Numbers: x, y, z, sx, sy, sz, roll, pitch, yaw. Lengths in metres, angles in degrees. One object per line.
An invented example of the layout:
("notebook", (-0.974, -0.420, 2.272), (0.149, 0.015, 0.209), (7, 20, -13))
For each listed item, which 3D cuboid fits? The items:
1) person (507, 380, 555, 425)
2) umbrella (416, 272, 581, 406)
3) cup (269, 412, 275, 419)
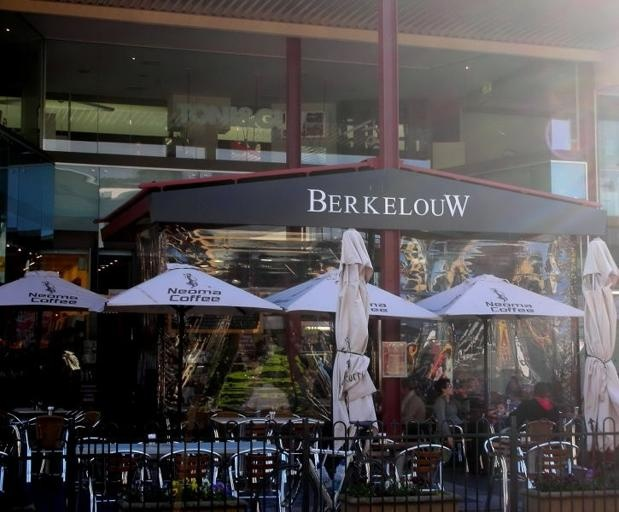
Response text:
("person", (3.823, 2.581, 21.533), (0.775, 0.687, 0.429), (5, -7, 5))
("umbrella", (3.212, 1.348, 21.660), (2.578, 2.226, 2.161), (-3, 3, -4))
("cup", (-0.690, 2.822, 21.765), (0.080, 0.130, 0.081), (-2, -25, -1))
